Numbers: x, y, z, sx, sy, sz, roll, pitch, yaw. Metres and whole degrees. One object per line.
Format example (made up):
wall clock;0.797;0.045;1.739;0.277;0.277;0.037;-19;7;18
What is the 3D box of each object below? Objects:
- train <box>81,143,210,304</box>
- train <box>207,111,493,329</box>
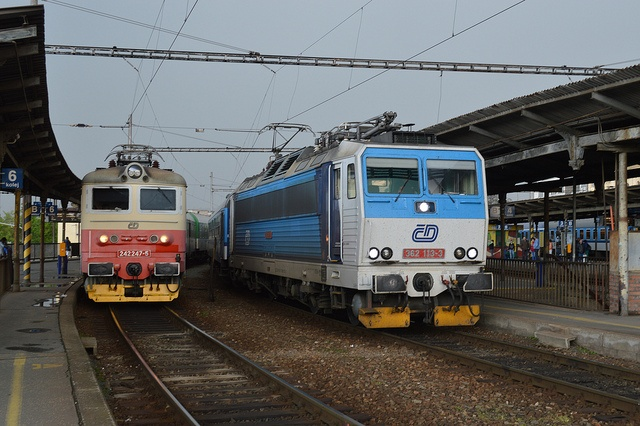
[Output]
train;-5.681;0.599;17.728;3.037;4.311;1.411;-3;6;-22
train;-0.288;0.498;20.915;3.514;5.282;15.505;2;-3;-23
